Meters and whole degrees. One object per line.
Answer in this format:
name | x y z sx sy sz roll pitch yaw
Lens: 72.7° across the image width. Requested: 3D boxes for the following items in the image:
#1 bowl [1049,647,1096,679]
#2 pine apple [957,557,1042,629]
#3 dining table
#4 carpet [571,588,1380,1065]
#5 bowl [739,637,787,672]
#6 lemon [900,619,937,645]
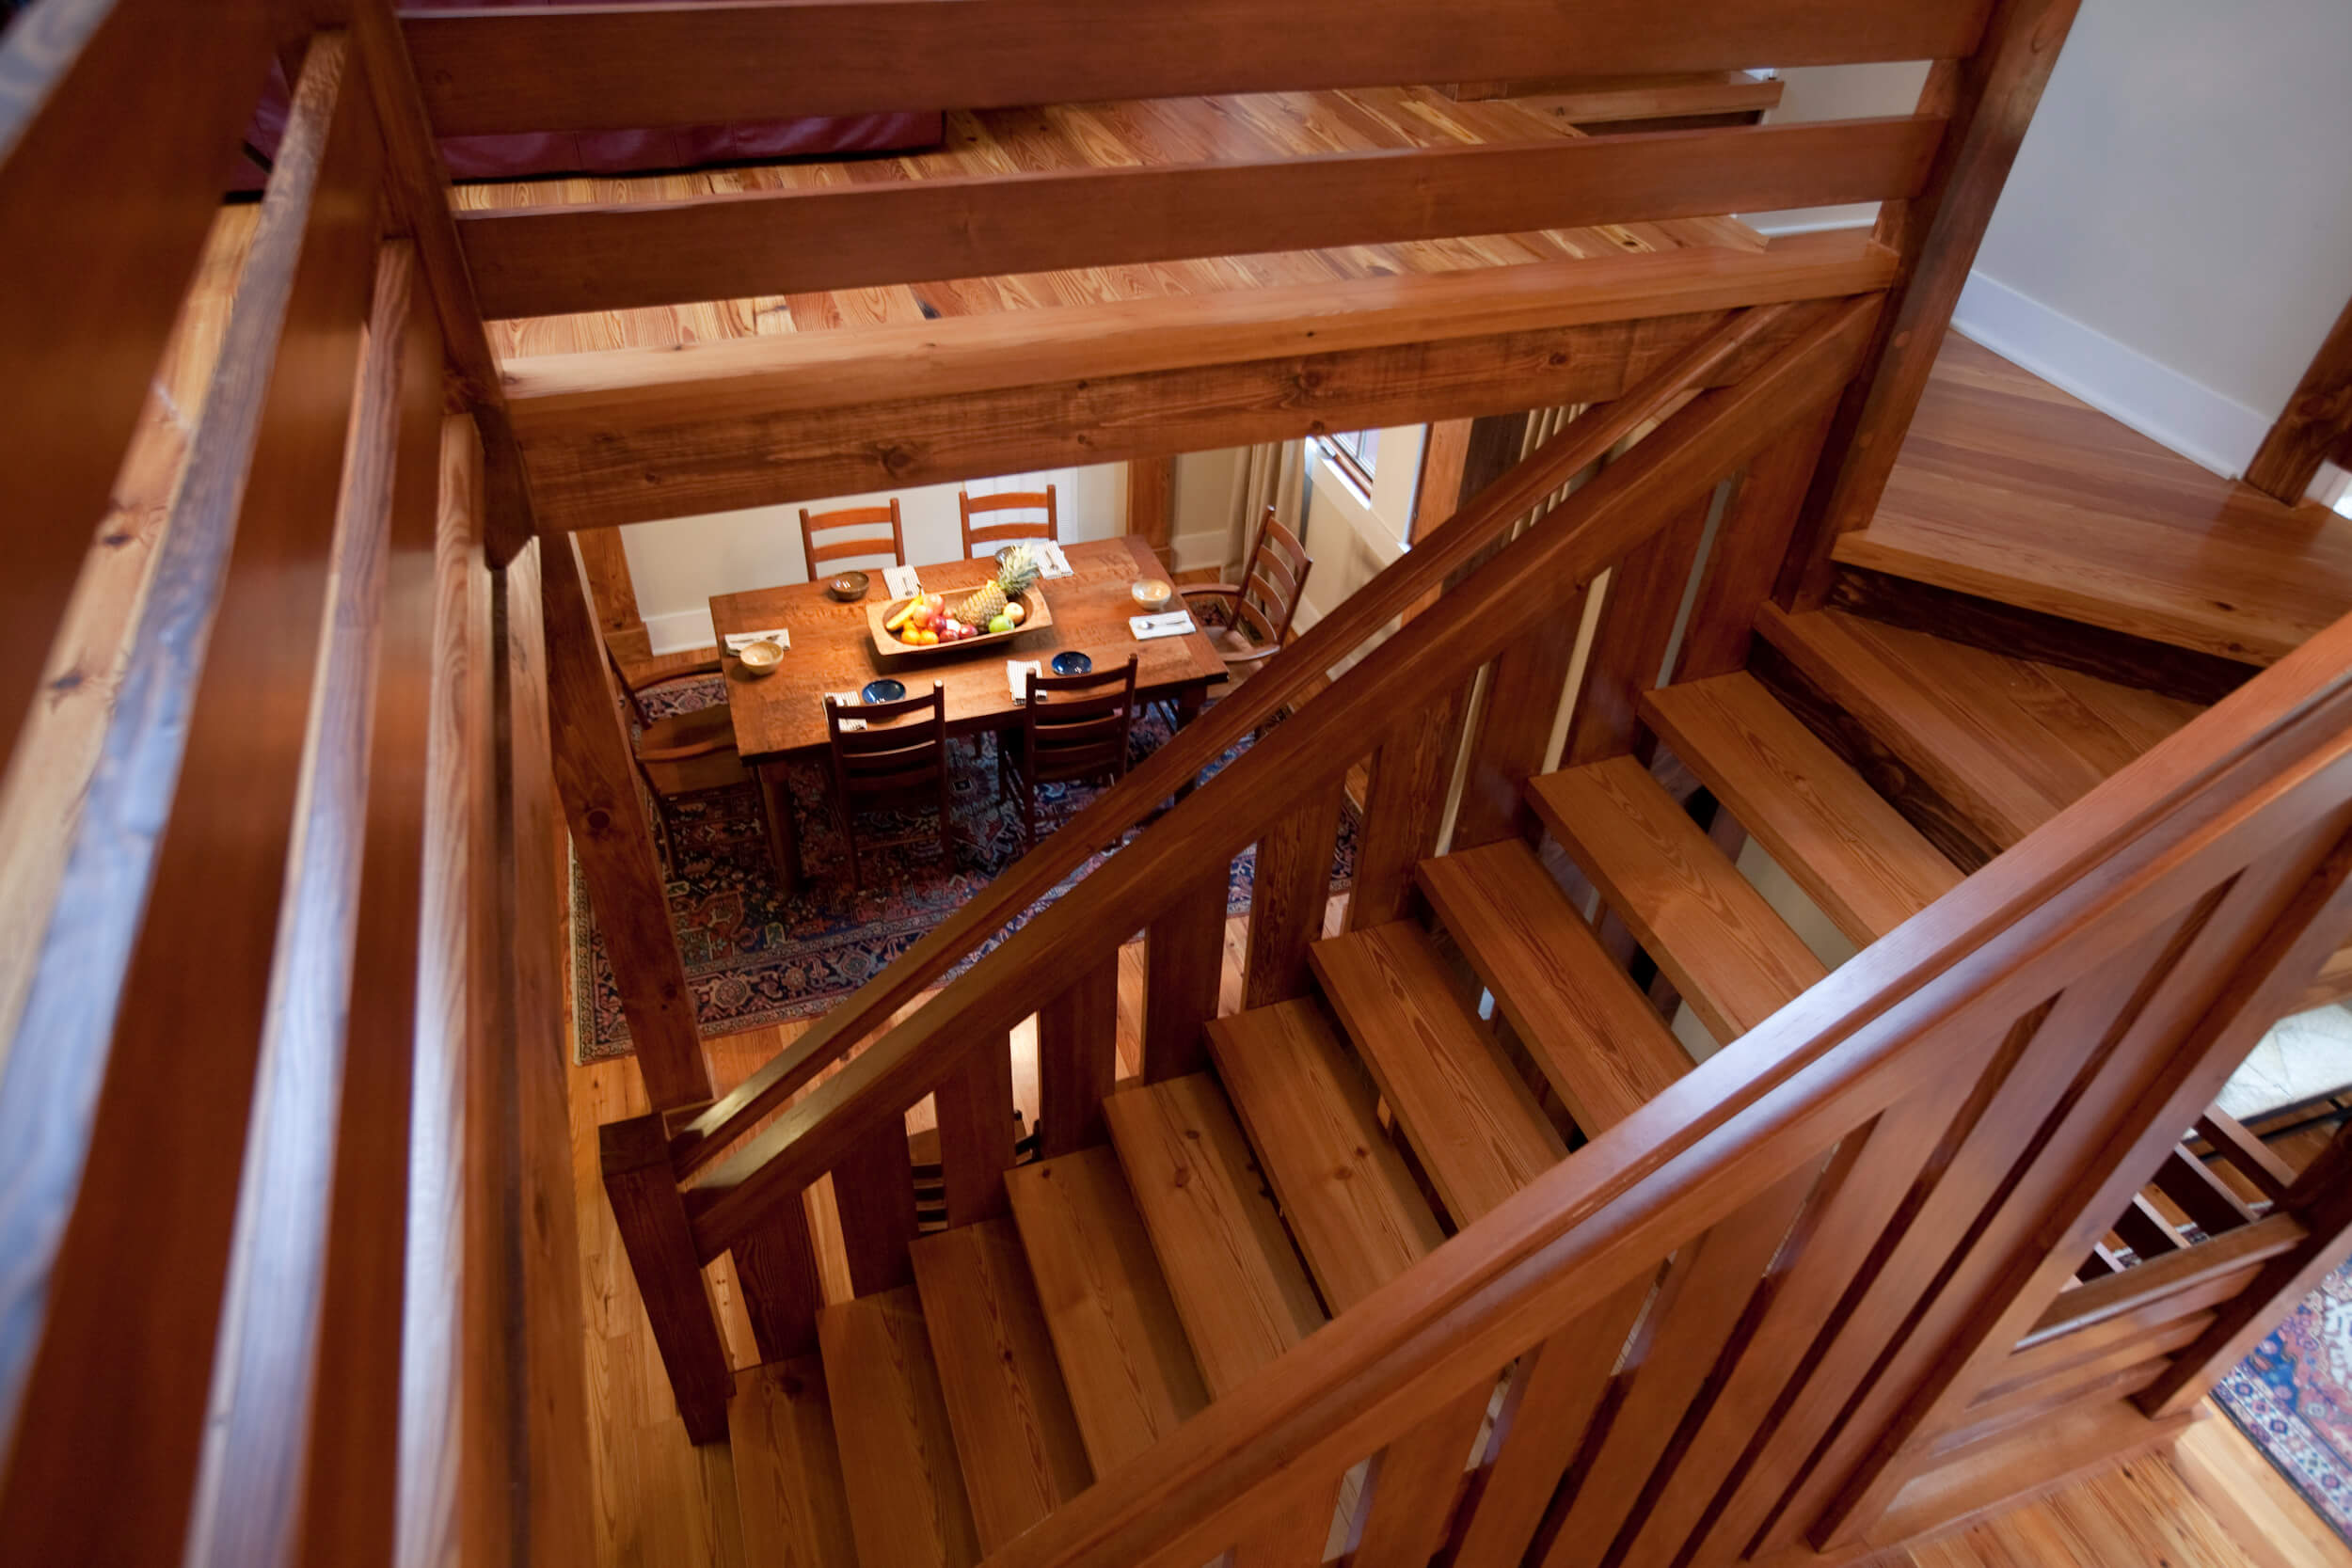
bowl | -0.383 -0.439 5.738 0.157 0.049 0.258 -3 32 -3
pine apple | -0.645 -0.694 5.925 0.347 0.145 0.188 -35 19 -27
dining table | -1.014 -0.492 6.574 3.010 1.347 1.500 -9 69 -12
carpet | -1.285 0.081 5.939 2.386 0.653 1.405 -25 39 -33
bowl | -1.506 -0.470 5.776 0.163 0.074 0.190 -2 32 -1
lemon | -0.930 -0.552 5.811 0.083 0.032 0.084 32 44 25
